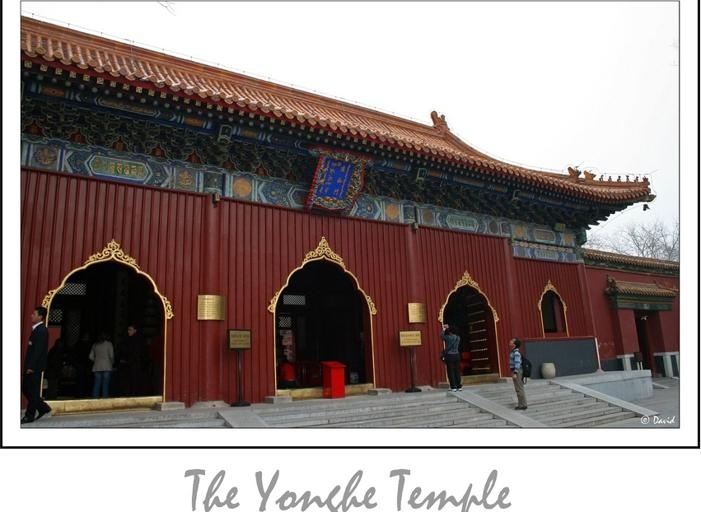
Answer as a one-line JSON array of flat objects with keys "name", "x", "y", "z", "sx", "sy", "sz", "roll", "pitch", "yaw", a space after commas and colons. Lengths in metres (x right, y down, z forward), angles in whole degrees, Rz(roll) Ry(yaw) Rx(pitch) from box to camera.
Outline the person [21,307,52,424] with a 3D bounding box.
[{"name": "person", "x": -5.138, "y": 1.733, "z": 8.916, "sx": 0.401, "sy": 1.903, "sz": 0.587, "roll": 4, "pitch": -14, "yaw": -30}]

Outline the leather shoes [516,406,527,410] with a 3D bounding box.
[{"name": "leather shoes", "x": 3.472, "y": 3.069, "z": 11.009, "sx": 0.203, "sy": 0.073, "sz": 0.104, "roll": -7, "pitch": -12, "yaw": 17}]

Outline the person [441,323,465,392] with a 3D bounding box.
[{"name": "person", "x": 2.287, "y": 2.280, "z": 12.278, "sx": 0.412, "sy": 1.433, "sz": 0.763, "roll": -5, "pitch": -12, "yaw": 8}]
